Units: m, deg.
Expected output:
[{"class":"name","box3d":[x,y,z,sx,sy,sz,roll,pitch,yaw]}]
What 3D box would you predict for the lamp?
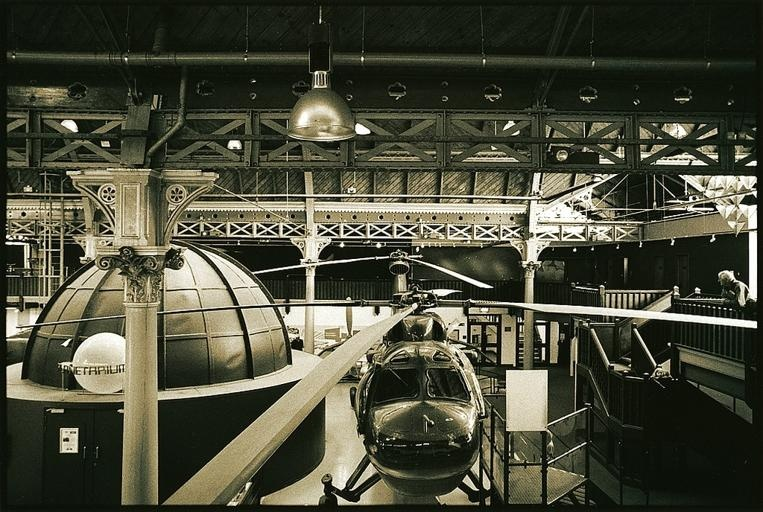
[{"class":"lamp","box3d":[-1.650,-4.775,28.050,1.663,3.204,0.806,0,-2,-6]}]
